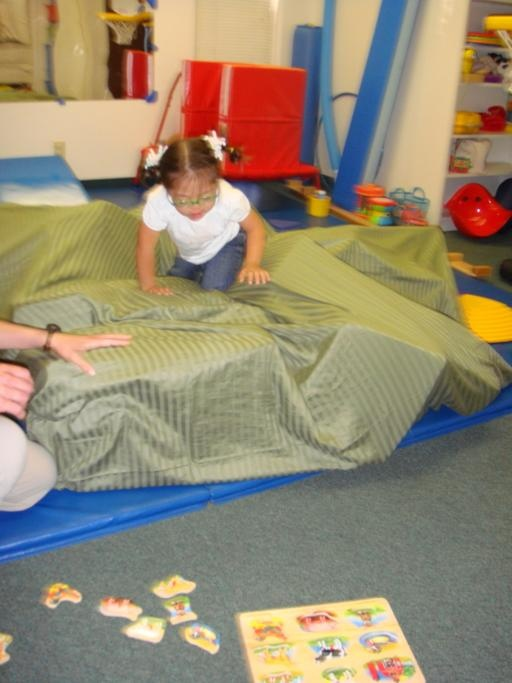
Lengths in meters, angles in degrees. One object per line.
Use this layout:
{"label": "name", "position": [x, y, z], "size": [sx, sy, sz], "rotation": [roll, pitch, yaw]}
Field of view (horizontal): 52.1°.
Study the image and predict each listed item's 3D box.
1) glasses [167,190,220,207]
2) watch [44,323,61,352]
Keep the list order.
{"label": "glasses", "position": [-0.192, -0.432, 1.626], "size": [0.130, 0.055, 0.045], "rotation": [2, 33, -12]}
{"label": "watch", "position": [-0.459, -0.009, 1.192], "size": [0.025, 0.046, 0.063], "rotation": [14, 33, -3]}
